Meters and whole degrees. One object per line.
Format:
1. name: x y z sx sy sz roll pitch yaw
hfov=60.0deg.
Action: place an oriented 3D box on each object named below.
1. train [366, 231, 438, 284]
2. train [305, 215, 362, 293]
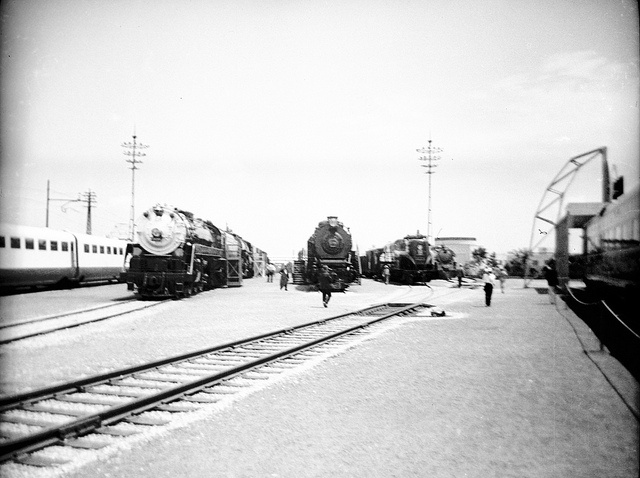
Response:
1. train: 6.397 2.228 48.152 3.295 4.129 16.945 0 -6 -10
2. train: 0.613 0.840 29.996 2.324 4.138 2.446 1 5 3
